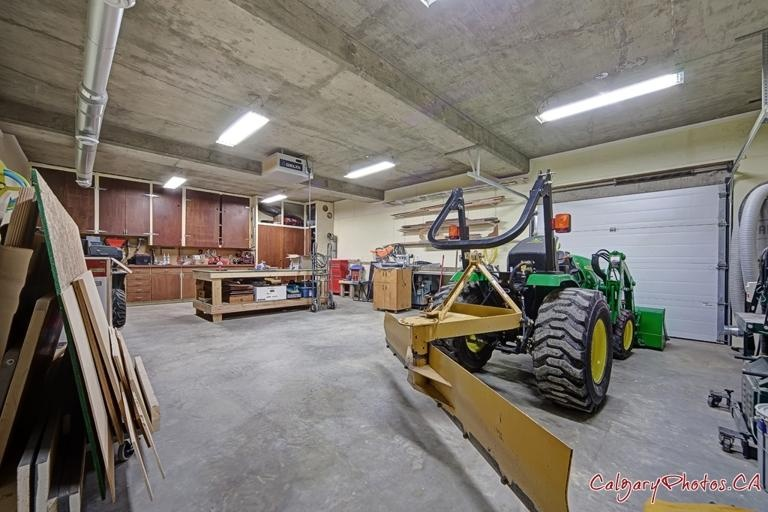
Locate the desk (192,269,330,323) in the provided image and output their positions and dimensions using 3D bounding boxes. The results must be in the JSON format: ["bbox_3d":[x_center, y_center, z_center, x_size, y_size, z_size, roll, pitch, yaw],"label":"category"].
[{"bbox_3d":[-2.709,0.742,8.558,0.847,0.827,2.364,3,2,41],"label":"desk"}]

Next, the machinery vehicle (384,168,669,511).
[{"bbox_3d":[1.741,0.811,4.670,3.564,1.768,2.475,-7,7,-45],"label":"machinery vehicle"}]

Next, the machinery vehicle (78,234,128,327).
[{"bbox_3d":[-4.524,0.473,6.610,0.549,1.566,1.740,-3,6,-33],"label":"machinery vehicle"}]

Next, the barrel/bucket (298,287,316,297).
[{"bbox_3d":[-1.681,0.799,8.918,0.256,0.245,0.458,4,-2,-12],"label":"barrel/bucket"}]

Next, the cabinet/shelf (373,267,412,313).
[{"bbox_3d":[0.178,0.764,9.108,0.538,0.897,0.718,-2,3,-43],"label":"cabinet/shelf"}]

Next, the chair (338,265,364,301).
[{"bbox_3d":[-0.929,0.725,11.326,0.854,1.138,0.704,5,7,41],"label":"chair"}]
